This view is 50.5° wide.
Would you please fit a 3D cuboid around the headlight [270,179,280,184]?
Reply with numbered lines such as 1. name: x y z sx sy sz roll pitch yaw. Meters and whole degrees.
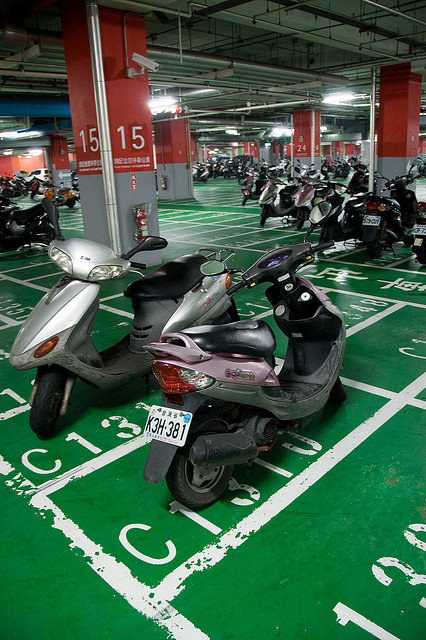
1. headlight: 1.540 -3.463 11.309 0.146 0.116 0.266 8 18 39

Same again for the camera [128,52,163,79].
1. camera: -1.062 -3.970 6.869 0.428 0.397 0.748 -8 14 -17

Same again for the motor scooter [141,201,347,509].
1. motor scooter: 0.278 0.177 2.469 0.768 1.049 1.785 3 17 38

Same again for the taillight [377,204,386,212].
1. taillight: 2.650 -1.766 7.097 0.171 0.098 0.056 -11 16 -29

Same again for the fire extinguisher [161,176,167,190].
1. fire extinguisher: -2.305 -6.353 20.948 0.111 0.596 0.313 -16 19 -37

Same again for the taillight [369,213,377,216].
1. taillight: 2.497 -1.657 7.093 0.120 0.042 0.035 6 18 36

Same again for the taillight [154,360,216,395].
1. taillight: -0.115 0.232 1.888 0.211 0.087 0.143 0 8 -10

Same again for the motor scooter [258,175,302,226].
1. motor scooter: 1.609 -3.069 11.649 1.025 1.165 1.009 0 15 -16

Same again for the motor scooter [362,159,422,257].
1. motor scooter: 2.981 -1.735 7.481 2.306 1.181 0.705 -13 22 -29

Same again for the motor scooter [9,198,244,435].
1. motor scooter: -0.571 -0.103 3.411 1.012 1.295 2.029 14 21 33

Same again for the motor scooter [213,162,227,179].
1. motor scooter: 0.517 -12.281 37.275 0.987 0.998 1.613 5 34 17

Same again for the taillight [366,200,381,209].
1. taillight: 2.523 -1.814 7.132 0.206 0.122 0.106 8 19 40

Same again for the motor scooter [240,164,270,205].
1. motor scooter: 1.191 -4.465 14.753 0.722 0.818 1.251 -14 31 -4

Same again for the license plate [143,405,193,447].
1. license plate: -0.195 0.437 1.873 0.243 0.140 0.003 3 -16 39
